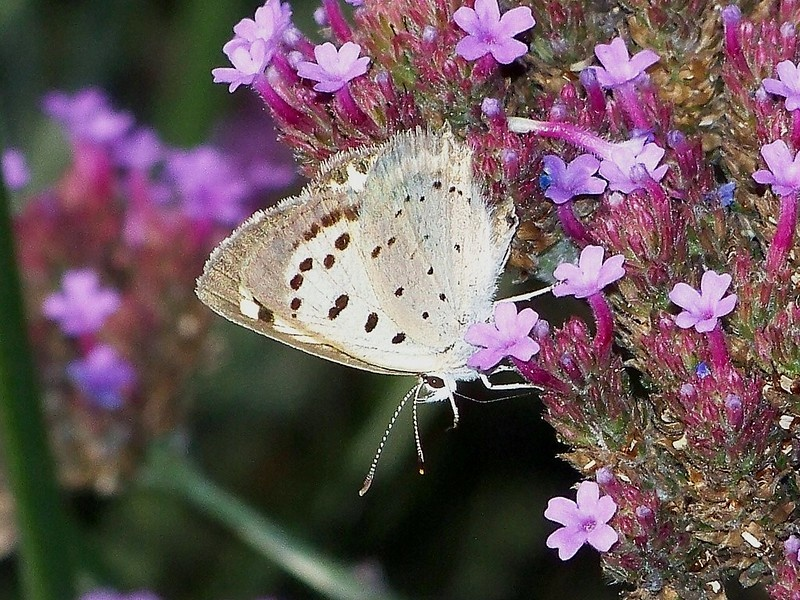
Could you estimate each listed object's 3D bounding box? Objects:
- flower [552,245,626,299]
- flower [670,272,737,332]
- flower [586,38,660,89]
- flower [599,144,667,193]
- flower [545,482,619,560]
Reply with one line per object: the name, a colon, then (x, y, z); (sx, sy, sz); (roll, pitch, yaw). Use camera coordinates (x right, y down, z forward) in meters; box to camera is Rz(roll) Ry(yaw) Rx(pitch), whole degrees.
flower: (0.577, -0.080, 3.454); (0.174, 0.073, 0.176); (-43, 59, 20)
flower: (0.899, 0.007, 3.359); (0.178, 0.096, 0.180); (-10, 75, 0)
flower: (0.722, -0.802, 3.642); (0.123, 0.143, 0.055); (11, 76, -27)
flower: (0.731, -0.423, 3.544); (0.166, 0.080, 0.174); (-33, 54, 8)
flower: (0.553, 0.672, 3.449); (0.232, 0.123, 0.219); (-9, 75, 1)
